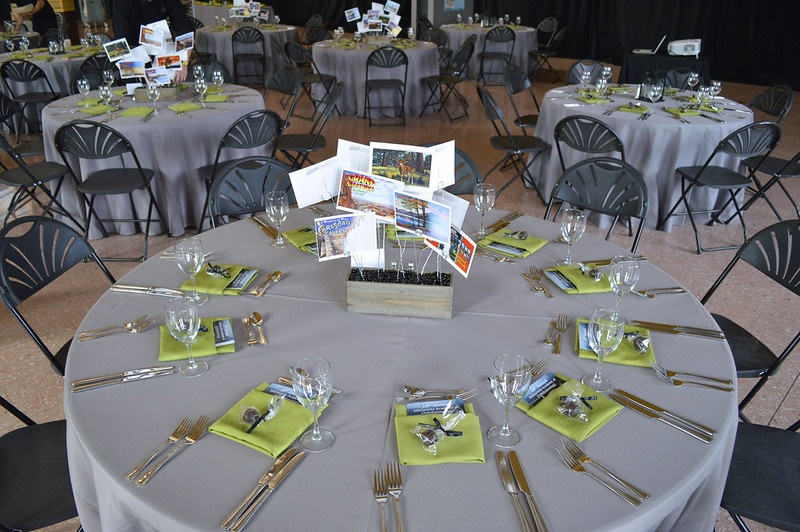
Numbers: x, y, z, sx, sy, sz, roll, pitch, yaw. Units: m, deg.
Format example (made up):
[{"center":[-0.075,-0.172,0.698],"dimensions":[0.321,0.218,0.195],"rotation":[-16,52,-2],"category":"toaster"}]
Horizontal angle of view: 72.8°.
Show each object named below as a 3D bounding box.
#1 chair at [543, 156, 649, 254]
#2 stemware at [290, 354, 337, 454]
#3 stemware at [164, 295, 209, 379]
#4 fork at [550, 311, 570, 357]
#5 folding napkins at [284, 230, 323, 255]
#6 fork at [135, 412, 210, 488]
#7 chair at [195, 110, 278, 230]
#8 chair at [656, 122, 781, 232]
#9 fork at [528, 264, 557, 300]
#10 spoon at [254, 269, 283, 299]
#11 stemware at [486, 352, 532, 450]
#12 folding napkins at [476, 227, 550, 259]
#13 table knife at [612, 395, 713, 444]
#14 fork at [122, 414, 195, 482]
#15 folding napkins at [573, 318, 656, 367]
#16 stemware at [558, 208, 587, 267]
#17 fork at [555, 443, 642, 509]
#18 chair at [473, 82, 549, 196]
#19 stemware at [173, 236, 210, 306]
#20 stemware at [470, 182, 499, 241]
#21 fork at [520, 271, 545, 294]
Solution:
[{"center":[1.260,-0.382,3.391],"dimensions":[0.442,0.662,0.488],"rotation":[19,48,23],"category":"chair"},{"center":[-0.312,0.446,1.936],"dimensions":[0.131,0.238,0.322],"rotation":[-5,29,-10],"category":"stemware"},{"center":[-0.847,0.290,2.134],"dimensions":[0.133,0.330,0.133],"rotation":[13,34,23],"category":"stemware"},{"center":[0.643,0.275,2.219],"dimensions":[0.055,0.033,0.236],"rotation":[11,44,18],"category":"fork"},{"center":[-0.491,-0.135,2.717],"dimensions":[0.124,0.026,0.141],"rotation":[-11,47,-30],"category":"folding napkins"},{"center":[-0.782,0.636,1.852],"dimensions":[0.035,0.034,0.226],"rotation":[20,48,21],"category":"fork"},{"center":[-1.144,-0.694,3.724],"dimensions":[0.463,0.886,0.608],"rotation":[-20,56,-28],"category":"chair"},{"center":[2.542,-0.734,4.395],"dimensions":[0.507,1.069,0.761],"rotation":[-7,42,-4],"category":"chair"},{"center":[0.626,0.072,2.456],"dimensions":[0.045,0.029,0.191],"rotation":[-8,33,-5],"category":"fork"},{"center":[-0.599,0.076,2.453],"dimensions":[0.049,0.026,0.179],"rotation":[9,34,9],"category":"spoon"},{"center":[0.388,0.490,1.924],"dimensions":[0.140,0.315,0.151],"rotation":[0,29,2],"category":"stemware"},{"center":[0.559,-0.115,2.707],"dimensions":[0.185,0.032,0.202],"rotation":[17,38,30],"category":"folding napkins"},{"center":[0.938,0.550,1.933],"dimensions":[0.196,0.016,0.049],"rotation":[25,45,29],"category":"table knife"},{"center":[-0.832,0.631,1.856],"dimensions":[0.031,0.031,0.206],"rotation":[12,44,25],"category":"fork"},{"center":[0.863,0.303,2.142],"dimensions":[0.169,0.030,0.198],"rotation":[5,39,11],"category":"folding napkins"},{"center":[0.835,-0.131,2.625],"dimensions":[0.113,0.311,0.126],"rotation":[16,36,30],"category":"stemware"},{"center":[0.669,0.692,1.822],"dimensions":[0.078,0.047,0.309],"rotation":[-22,32,-31],"category":"fork"},{"center":[1.036,-1.156,5.058],"dimensions":[0.622,1.053,0.534],"rotation":[-3,23,0],"category":"chair"},{"center":[-0.944,0.032,2.438],"dimensions":[0.114,0.311,0.129],"rotation":[-5,37,-11],"category":"stemware"},{"center":[0.433,-0.295,2.814],"dimensions":[0.098,0.276,0.104],"rotation":[9,28,19],"category":"stemware"},{"center":[0.607,0.074,2.462],"dimensions":[0.031,0.028,0.197],"rotation":[-19,32,4],"category":"fork"}]
